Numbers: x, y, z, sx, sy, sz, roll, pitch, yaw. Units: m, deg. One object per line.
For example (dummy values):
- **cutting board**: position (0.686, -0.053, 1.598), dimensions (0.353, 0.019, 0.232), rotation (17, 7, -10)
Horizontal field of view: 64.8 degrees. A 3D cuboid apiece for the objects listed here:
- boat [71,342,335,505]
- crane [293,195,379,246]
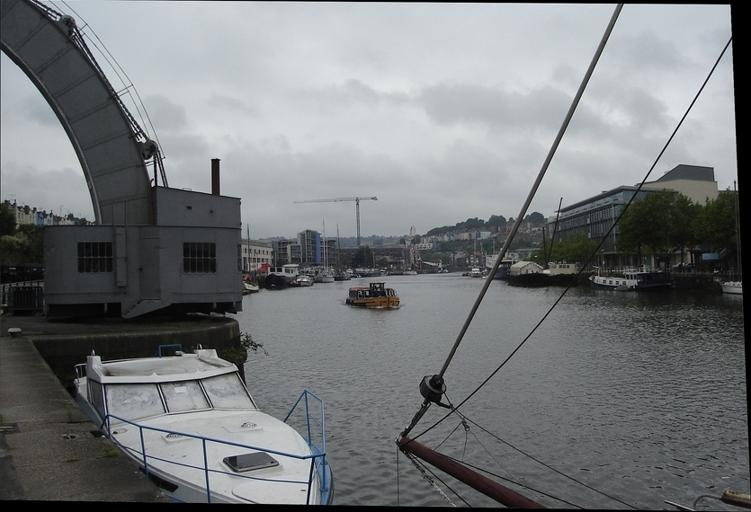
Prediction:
- **boat**: position (-3.949, 4.090, 13.878), dimensions (6.296, 2.800, 3.281), rotation (-1, -1, 37)
- **crane**: position (-9.402, -4.806, 140.679), dimensions (22.304, 13.865, 1.784), rotation (-1, 6, -7)
